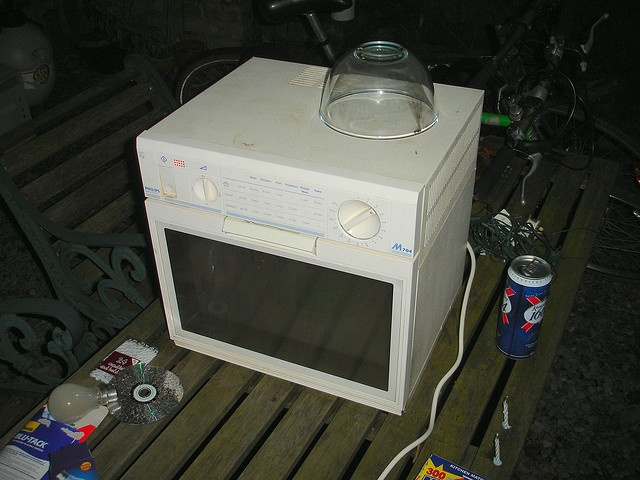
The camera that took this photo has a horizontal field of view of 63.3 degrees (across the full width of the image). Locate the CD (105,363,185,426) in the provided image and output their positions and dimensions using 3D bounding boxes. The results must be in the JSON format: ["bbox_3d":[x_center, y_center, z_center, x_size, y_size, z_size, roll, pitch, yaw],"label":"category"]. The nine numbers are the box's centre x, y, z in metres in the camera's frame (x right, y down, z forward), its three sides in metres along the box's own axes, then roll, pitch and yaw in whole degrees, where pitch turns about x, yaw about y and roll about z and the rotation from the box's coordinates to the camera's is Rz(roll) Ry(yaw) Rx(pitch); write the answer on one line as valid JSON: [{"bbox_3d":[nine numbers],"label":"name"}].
[{"bbox_3d":[-0.480,0.421,1.424,0.149,0.007,0.144,29,52,21],"label":"CD"}]

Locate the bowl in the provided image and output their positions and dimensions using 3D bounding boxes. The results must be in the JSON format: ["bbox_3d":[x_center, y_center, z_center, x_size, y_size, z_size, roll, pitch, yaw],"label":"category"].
[{"bbox_3d":[0.143,-0.374,1.331,0.264,0.160,0.286,-2,47,2],"label":"bowl"}]

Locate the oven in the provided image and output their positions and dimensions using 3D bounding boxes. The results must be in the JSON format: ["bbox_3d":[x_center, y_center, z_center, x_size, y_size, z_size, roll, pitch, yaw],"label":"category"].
[{"bbox_3d":[0.078,-0.019,1.763,0.976,0.975,0.811,14,38,20],"label":"oven"}]
